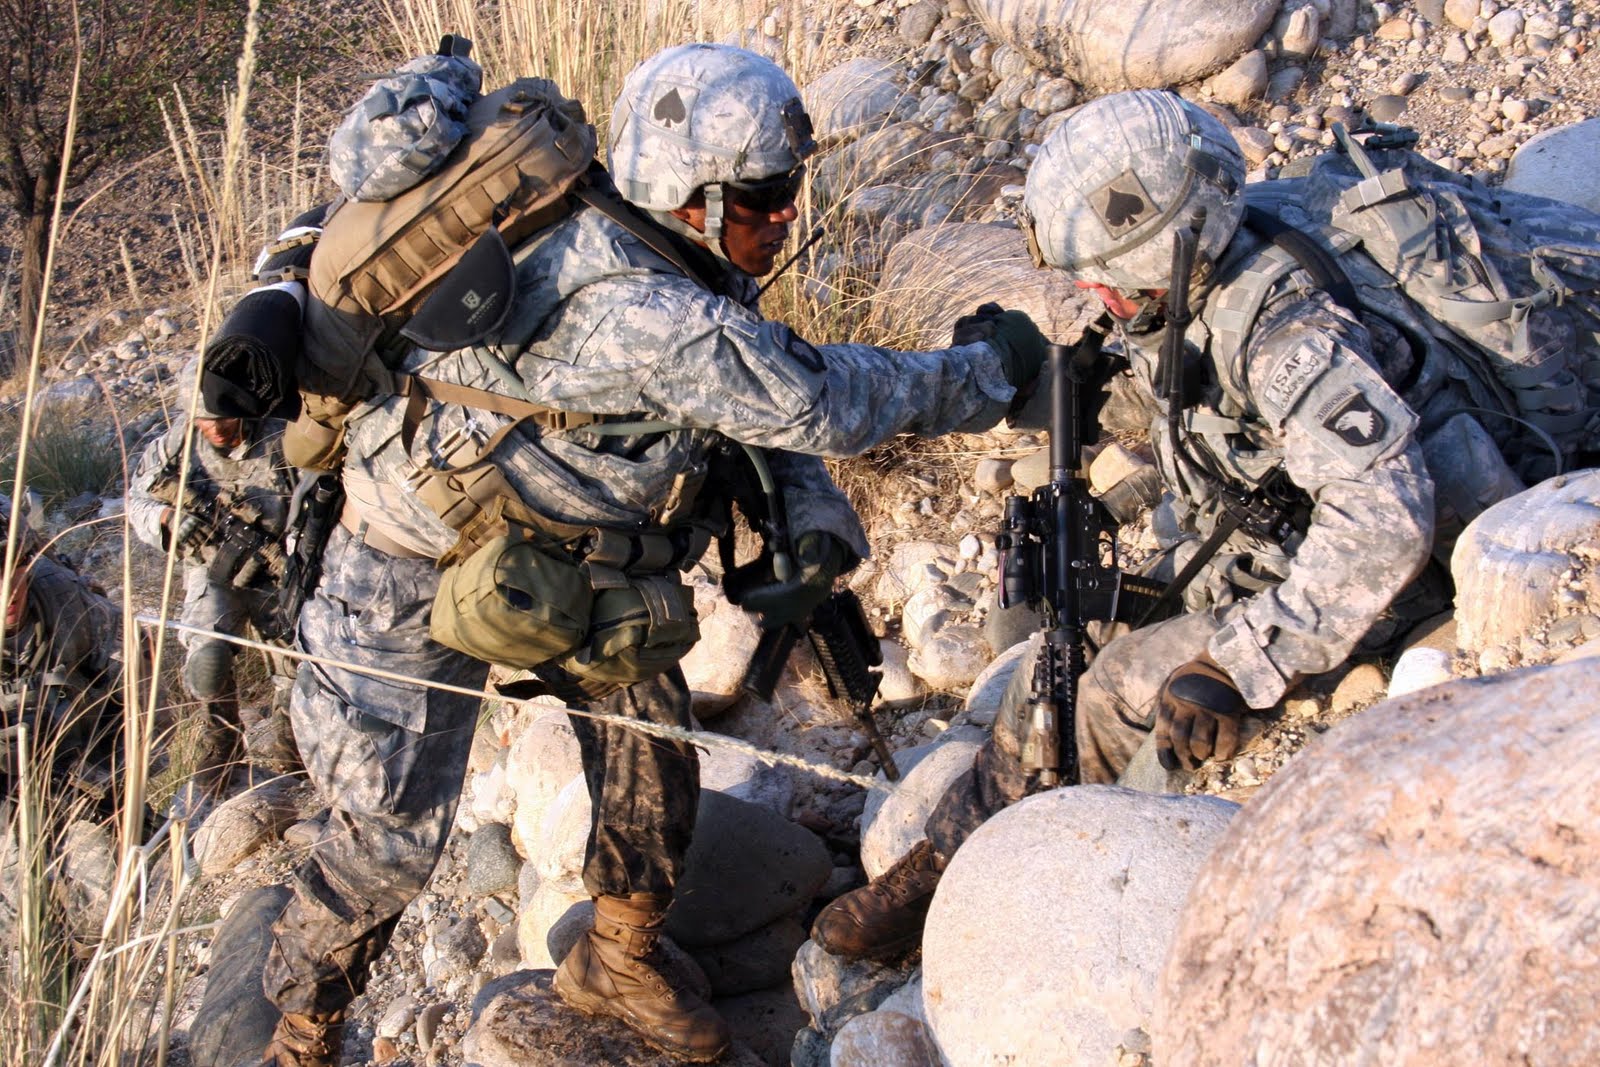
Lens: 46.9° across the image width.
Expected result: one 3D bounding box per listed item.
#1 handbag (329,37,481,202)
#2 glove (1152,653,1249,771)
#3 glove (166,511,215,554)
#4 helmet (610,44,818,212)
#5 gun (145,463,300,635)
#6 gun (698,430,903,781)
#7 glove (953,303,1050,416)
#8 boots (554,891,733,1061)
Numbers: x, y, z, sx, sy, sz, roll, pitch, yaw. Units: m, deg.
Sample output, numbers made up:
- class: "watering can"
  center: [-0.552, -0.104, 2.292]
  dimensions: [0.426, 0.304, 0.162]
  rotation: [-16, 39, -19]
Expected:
- class: "handbag"
  center: [-1.472, -1.404, 6.479]
  dimensions: [0.485, 0.337, 0.830]
  rotation: [-12, 19, -18]
- class: "glove"
  center: [1.366, 0.623, 6.313]
  dimensions: [0.289, 0.164, 0.405]
  rotation: [8, 25, 5]
- class: "glove"
  center: [-2.632, -0.017, 7.929]
  dimensions: [0.130, 0.189, 0.064]
  rotation: [12, -3, 3]
- class: "helmet"
  center: [-0.339, -1.401, 6.364]
  dimensions: [0.608, 0.514, 0.520]
  rotation: [23, 28, 23]
- class: "gun"
  center: [-2.677, 0.102, 8.626]
  dimensions: [0.994, 0.202, 0.531]
  rotation: [35, 32, -2]
- class: "gun"
  center: [-0.034, 0.336, 7.248]
  dimensions: [0.618, 1.461, 0.211]
  rotation: [-32, 21, -10]
- class: "glove"
  center: [0.785, -0.680, 6.669]
  dimensions: [0.290, 0.427, 0.404]
  rotation: [8, -23, 14]
- class: "boots"
  center: [-0.599, 1.676, 6.908]
  dimensions: [0.582, 0.462, 0.241]
  rotation: [26, 26, 0]
